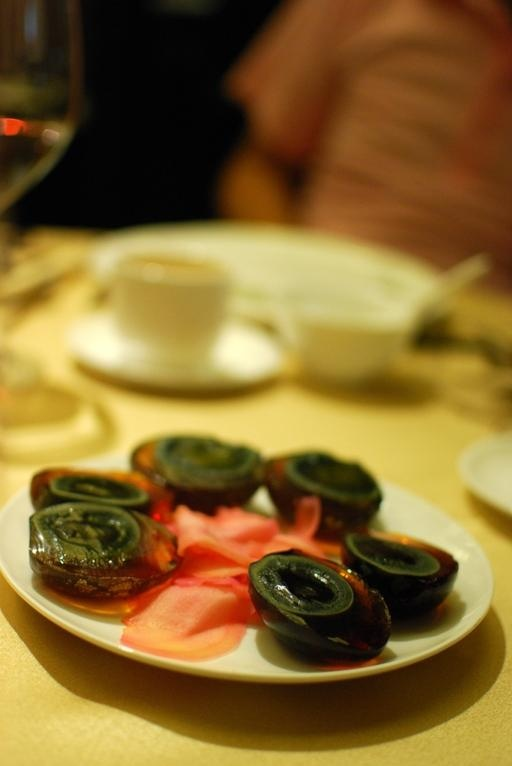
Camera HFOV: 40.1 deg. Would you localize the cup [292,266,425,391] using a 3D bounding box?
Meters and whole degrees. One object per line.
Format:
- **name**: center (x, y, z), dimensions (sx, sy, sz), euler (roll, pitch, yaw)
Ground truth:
- **cup**: center (0.064, -0.033, 0.408), dimensions (0.106, 0.066, 0.097), euler (-2, 10, 0)
